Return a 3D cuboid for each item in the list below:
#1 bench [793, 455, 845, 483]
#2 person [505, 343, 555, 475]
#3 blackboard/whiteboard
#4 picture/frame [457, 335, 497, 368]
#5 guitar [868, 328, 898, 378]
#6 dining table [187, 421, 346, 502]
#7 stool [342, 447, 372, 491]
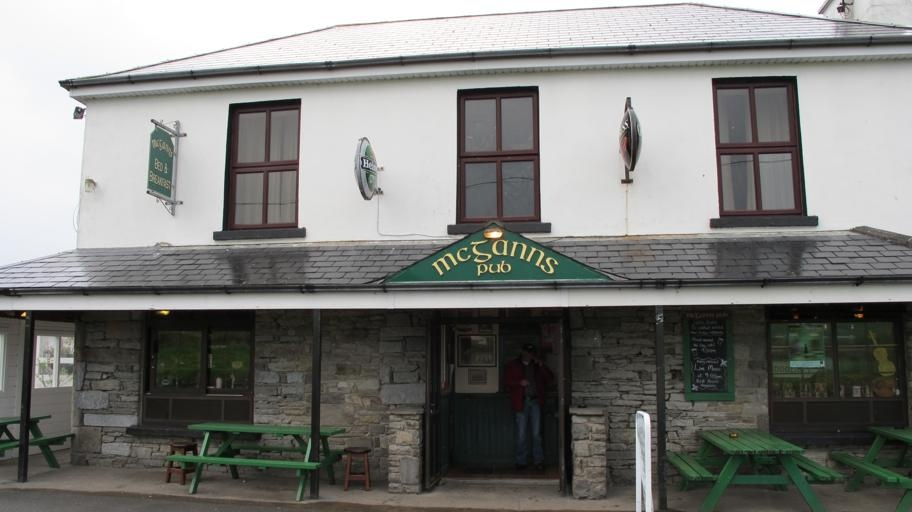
[{"bbox_3d":[7.460,4.458,20.734,0.557,0.188,0.867,1,6,1],"label":"bench"},{"bbox_3d":[1.721,3.632,22.999,1.093,2.578,1.088,0,-3,7],"label":"person"},{"bbox_3d":[5.566,2.198,21.878,1.021,1.936,0.135,-2,-3,8],"label":"blackboard/whiteboard"},{"bbox_3d":[0.531,2.293,23.372,0.865,0.569,0.067,0,-13,0],"label":"picture/frame"},{"bbox_3d":[9.364,2.197,21.798,0.414,0.968,0.167,-21,-3,6],"label":"guitar"},{"bbox_3d":[-4.347,4.287,22.028,2.795,0.971,1.789,-1,-5,15],"label":"dining table"},{"bbox_3d":[-2.070,4.694,21.910,0.743,0.795,0.763,-5,-8,29],"label":"stool"}]
